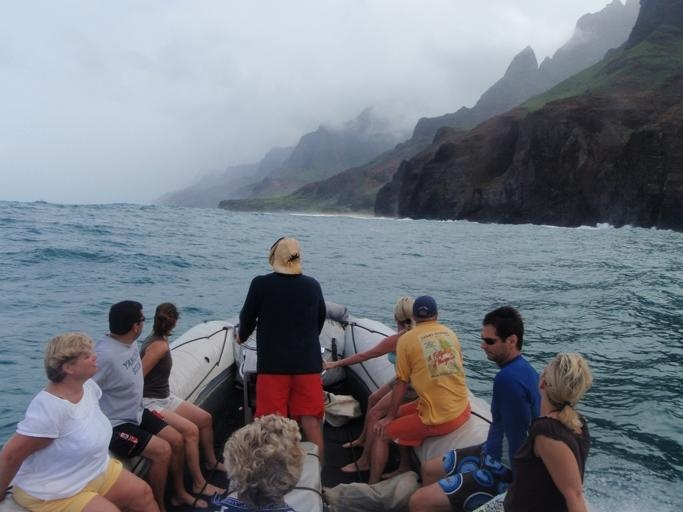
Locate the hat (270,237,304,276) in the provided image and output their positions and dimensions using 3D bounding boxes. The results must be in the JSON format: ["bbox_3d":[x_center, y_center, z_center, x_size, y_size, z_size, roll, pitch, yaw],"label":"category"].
[{"bbox_3d":[-0.522,-0.037,4.766,0.247,0.285,0.350,2,26,-17],"label":"hat"}]

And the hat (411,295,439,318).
[{"bbox_3d":[0.783,0.454,4.862,0.247,0.199,0.410,-1,14,8],"label":"hat"}]
